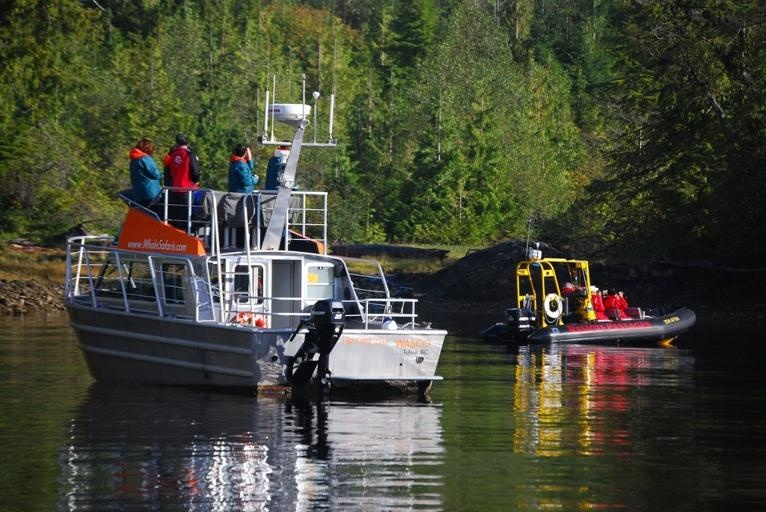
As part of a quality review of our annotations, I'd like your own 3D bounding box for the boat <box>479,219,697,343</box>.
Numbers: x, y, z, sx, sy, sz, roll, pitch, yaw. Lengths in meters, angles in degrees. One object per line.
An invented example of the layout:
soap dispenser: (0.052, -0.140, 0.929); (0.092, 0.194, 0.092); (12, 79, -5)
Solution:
boat: (8.401, 1.614, 78.177); (15.212, 4.943, 25.913); (0, 0, -22)
